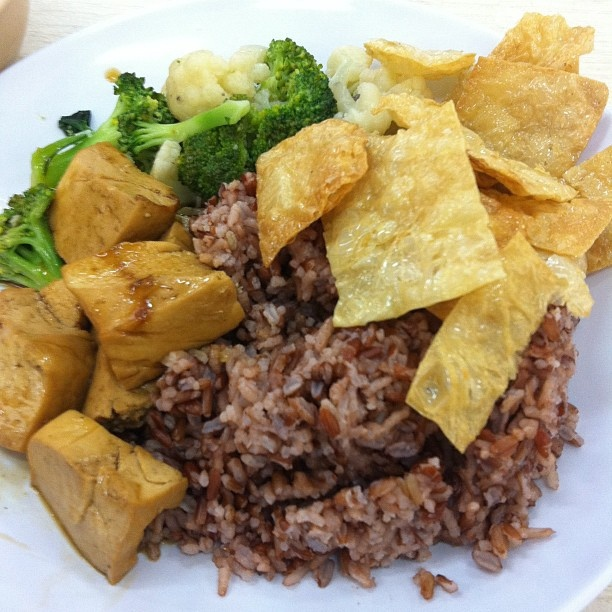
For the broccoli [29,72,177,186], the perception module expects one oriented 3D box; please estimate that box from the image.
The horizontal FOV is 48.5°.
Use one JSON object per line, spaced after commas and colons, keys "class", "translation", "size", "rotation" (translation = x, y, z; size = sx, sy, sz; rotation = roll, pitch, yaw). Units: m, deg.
{"class": "broccoli", "translation": [-0.783, -0.804, 2.818], "size": [0.386, 0.236, 0.253], "rotation": [37, 98, 21]}
